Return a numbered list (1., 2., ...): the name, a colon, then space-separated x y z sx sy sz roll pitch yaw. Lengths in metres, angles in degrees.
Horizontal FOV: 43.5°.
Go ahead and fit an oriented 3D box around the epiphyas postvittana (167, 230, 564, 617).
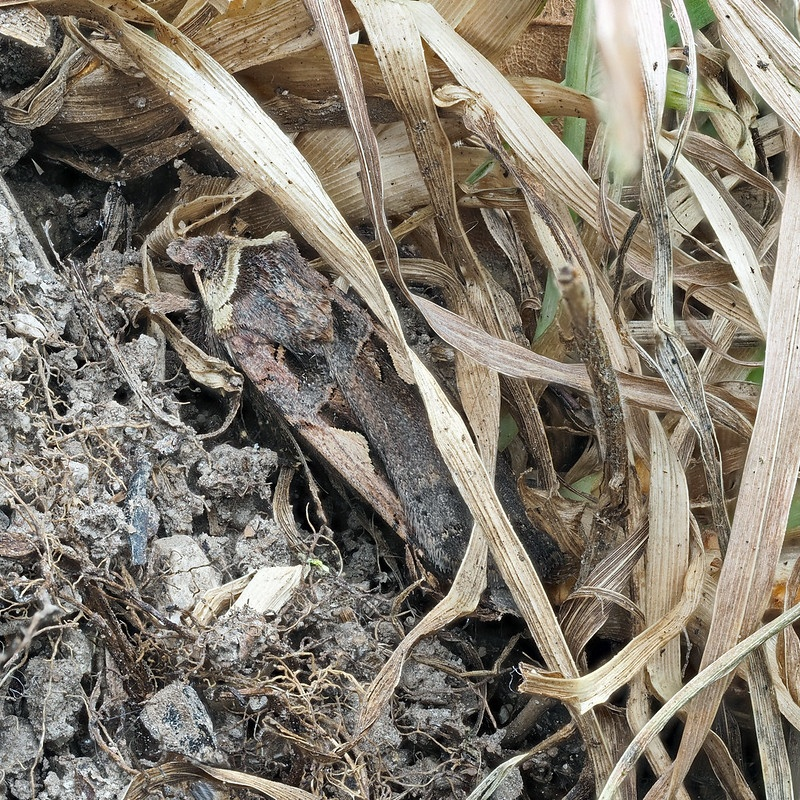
1. epiphyas postvittana: -0.101 -0.006 1.131 0.543 0.197 0.161 48 50 -8
